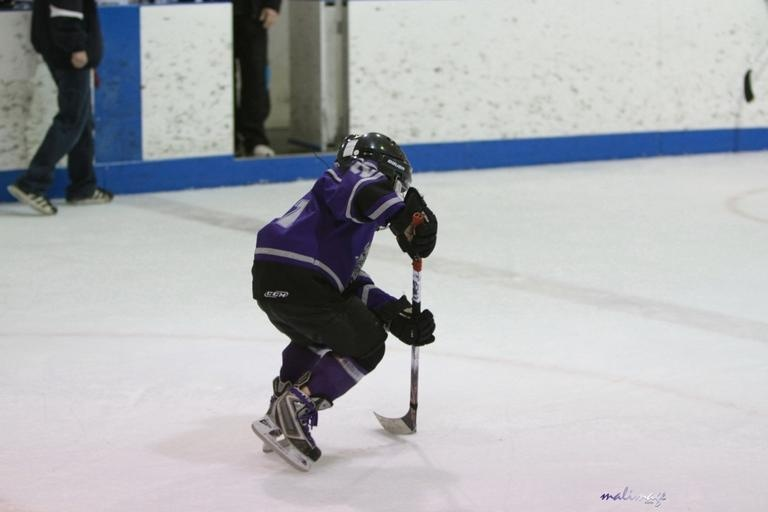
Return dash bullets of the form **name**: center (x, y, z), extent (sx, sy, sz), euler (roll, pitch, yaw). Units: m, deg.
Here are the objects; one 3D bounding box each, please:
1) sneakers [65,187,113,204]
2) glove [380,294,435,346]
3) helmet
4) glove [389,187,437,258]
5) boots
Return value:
- **sneakers**: center (-1.841, -0.395, 5.207), extent (0.231, 0.089, 0.103), euler (-12, 21, -32)
- **glove**: center (0.071, 0.215, 2.758), extent (0.187, 0.145, 0.087), euler (34, 66, 11)
- **helmet**: center (-0.017, -0.312, 2.755), extent (0.231, 0.199, 0.198), euler (6, 17, -19)
- **glove**: center (0.067, -0.096, 2.615), extent (0.143, 0.226, 0.152), euler (-9, 21, -30)
- **boots**: center (-0.287, 0.512, 2.650), extent (0.218, 0.236, 0.277), euler (4, 18, 6)
